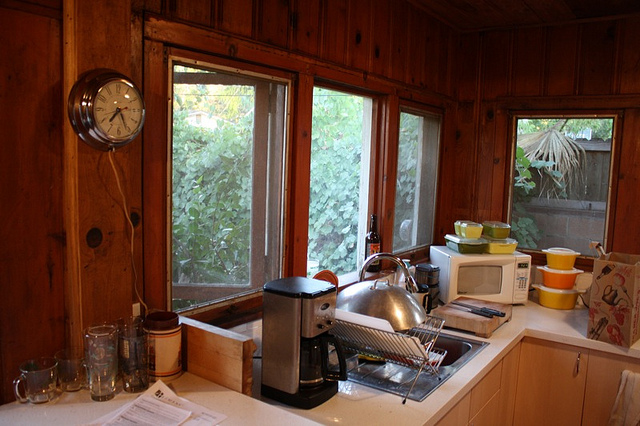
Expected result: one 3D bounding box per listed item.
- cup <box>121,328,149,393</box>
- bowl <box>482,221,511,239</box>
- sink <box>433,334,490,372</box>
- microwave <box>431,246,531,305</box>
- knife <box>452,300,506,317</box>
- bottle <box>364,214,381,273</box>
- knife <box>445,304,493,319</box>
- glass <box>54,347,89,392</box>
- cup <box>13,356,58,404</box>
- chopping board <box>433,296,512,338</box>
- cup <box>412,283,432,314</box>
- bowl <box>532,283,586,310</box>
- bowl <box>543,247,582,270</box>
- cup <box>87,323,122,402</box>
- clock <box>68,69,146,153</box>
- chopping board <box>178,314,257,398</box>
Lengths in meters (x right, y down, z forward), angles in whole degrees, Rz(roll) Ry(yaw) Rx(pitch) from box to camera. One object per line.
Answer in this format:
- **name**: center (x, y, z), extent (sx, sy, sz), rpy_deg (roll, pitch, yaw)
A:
- **cup**: center (-0.778, 0.610, 2.067), extent (0.097, 0.254, 0.081), rpy_deg (-2, 6, -19)
- **bowl**: center (1.207, 0.122, 3.393), extent (0.106, 0.079, 0.158), rpy_deg (1, -1, -7)
- **sink**: center (0.731, 0.731, 2.666), extent (0.198, 0.127, 0.204), rpy_deg (3, 7, 30)
- **microwave**: center (1.086, 0.423, 3.364), extent (0.631, 0.361, 0.292), rpy_deg (-1, 6, -12)
- **knife**: center (0.969, 0.571, 3.002), extent (0.085, 0.036, 0.323), rpy_deg (-5, 9, -33)
- **bottle**: center (0.354, 0.206, 3.388), extent (0.116, 0.388, 0.179), rpy_deg (1, 6, 5)
- **knife**: center (0.894, 0.564, 2.940), extent (0.250, 0.021, 0.068), rpy_deg (12, 16, 43)
- **glass**: center (-1.017, 0.634, 2.064), extent (0.170, 0.141, 0.139), rpy_deg (2, 4, 17)
- **cup**: center (-1.140, 0.676, 1.954), extent (0.117, 0.138, 0.186), rpy_deg (4, 10, 21)
- **chopping board**: center (0.870, 0.596, 2.909), extent (0.245, 0.070, 0.269), rpy_deg (3, 10, 35)
- **cup**: center (0.630, 0.522, 3.051), extent (0.107, 0.175, 0.235), rpy_deg (2, 6, 14)
- **bowl**: center (1.649, 0.576, 3.458), extent (0.338, 0.139, 0.277), rpy_deg (2, 4, 0)
- **bowl**: center (1.615, 0.301, 3.349), extent (0.187, 0.093, 0.134), rpy_deg (0, -2, 18)
- **cup**: center (-0.897, 0.611, 2.049), extent (0.130, 0.270, 0.162), rpy_deg (-3, 6, -26)
- **clock**: center (-0.897, -0.421, 2.043), extent (0.098, 0.346, 0.341), rpy_deg (4, 8, 38)
- **chopping board**: center (-0.459, 0.629, 2.145), extent (0.302, 0.178, 0.035), rpy_deg (11, 13, 33)
